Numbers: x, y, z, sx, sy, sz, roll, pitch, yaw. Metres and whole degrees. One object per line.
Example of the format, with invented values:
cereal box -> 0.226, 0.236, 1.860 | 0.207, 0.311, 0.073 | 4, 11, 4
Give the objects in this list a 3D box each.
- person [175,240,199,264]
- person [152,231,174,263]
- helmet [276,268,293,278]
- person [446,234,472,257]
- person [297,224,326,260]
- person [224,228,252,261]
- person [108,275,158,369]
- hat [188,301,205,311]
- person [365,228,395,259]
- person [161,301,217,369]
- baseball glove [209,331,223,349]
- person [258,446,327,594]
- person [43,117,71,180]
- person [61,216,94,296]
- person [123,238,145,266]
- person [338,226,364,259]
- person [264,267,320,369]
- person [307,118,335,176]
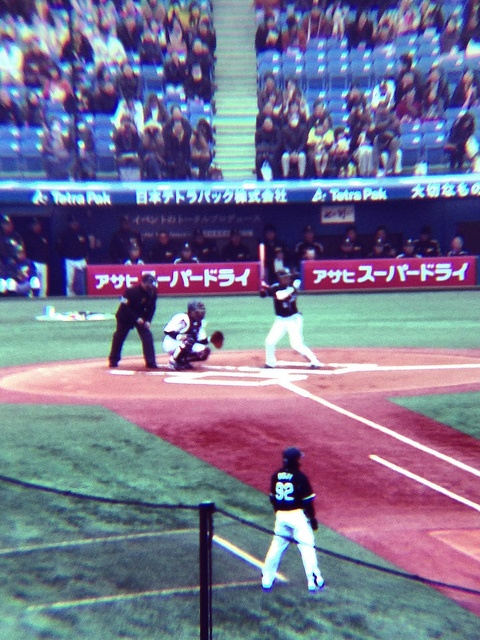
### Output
person -> -1.699, -2.019, 18.881 | 0.721, 0.574, 0.565 | 1, 5, 9
person -> -2.383, -2.227, 18.927 | 0.745, 0.939, 0.322 | -1, 6, -9
helmet -> 0.542, -0.595, 7.724 | 0.194, 0.118, 0.109 | 0, 5, 1
person -> 7.371, -2.552, 20.784 | 0.415, 0.551, 0.854 | 10, 21, 24
person -> 2.174, -2.406, 19.172 | 0.808, 1.012, 0.838 | 0, 5, -5
person -> -0.145, -2.304, 19.116 | 0.854, 0.979, 0.424 | 0, 6, -4
person -> -1.459, 0.013, 8.637 | 0.749, 1.346, 0.491 | 4, 7, 37
hat -> -0.594, -0.189, 8.313 | 0.144, 0.083, 0.174 | 4, 1, 5
person -> 4.542, -2.530, 20.288 | 1.054, 1.020, 0.666 | -10, 20, -20
person -> -0.765, 0.216, 8.473 | 0.667, 0.950, 0.395 | 2, 6, 14
baseball glove -> -0.302, 0.250, 7.988 | 0.212, 0.202, 0.224 | 3, -12, 2
person -> 0.215, 0.877, 2.593 | 0.262, 0.731, 0.382 | 1, 6, 7
person -> -5.986, -5.559, 20.013 | 0.848, 2.056, 1.237 | -2, 6, -17
person -> -5.160, -1.929, 19.097 | 0.879, 2.407, 0.584 | 0, 6, -2
person -> -3.291, -2.112, 18.796 | 0.537, 0.813, 0.716 | -1, 5, -11
person -> 3.497, -2.443, 19.526 | 0.474, 0.982, 0.644 | 4, 7, 38
person -> 0.707, -0.051, 8.735 | 0.804, 1.363, 2.025 | 1, 5, 4
person -> 2.685, -5.803, 20.562 | 0.660, 2.129, 1.568 | 2, 6, 18
